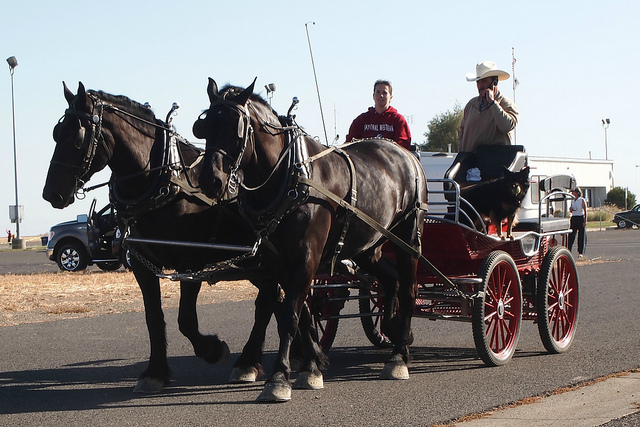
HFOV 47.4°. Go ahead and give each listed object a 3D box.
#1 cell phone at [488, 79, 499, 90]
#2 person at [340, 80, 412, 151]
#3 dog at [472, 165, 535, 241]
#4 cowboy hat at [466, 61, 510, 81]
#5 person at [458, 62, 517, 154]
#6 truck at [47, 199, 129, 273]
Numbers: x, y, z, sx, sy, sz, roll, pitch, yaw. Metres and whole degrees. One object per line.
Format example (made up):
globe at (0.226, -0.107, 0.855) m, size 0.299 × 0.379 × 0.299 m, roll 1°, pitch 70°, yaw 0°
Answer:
cell phone at (2.453, -1.836, 10.334) m, size 0.114 × 0.147 × 0.149 m, roll -1°, pitch 2°, yaw 13°
person at (0.832, -1.270, 10.274) m, size 0.951 × 1.302 × 0.790 m, roll 3°, pitch -2°, yaw 12°
dog at (2.389, -0.150, 9.635) m, size 0.396 × 0.939 × 0.641 m, roll -2°, pitch 2°, yaw -38°
cowboy hat at (2.358, -2.018, 10.309) m, size 0.550 × 0.221 × 0.356 m, roll -1°, pitch 2°, yaw 16°
person at (2.337, -1.506, 10.474) m, size 0.909 × 1.249 × 0.475 m, roll 0°, pitch 2°, yaw 39°
truck at (-5.712, 0.549, 19.716) m, size 3.262 × 1.818 × 1.951 m, roll -4°, pitch 1°, yaw -12°
